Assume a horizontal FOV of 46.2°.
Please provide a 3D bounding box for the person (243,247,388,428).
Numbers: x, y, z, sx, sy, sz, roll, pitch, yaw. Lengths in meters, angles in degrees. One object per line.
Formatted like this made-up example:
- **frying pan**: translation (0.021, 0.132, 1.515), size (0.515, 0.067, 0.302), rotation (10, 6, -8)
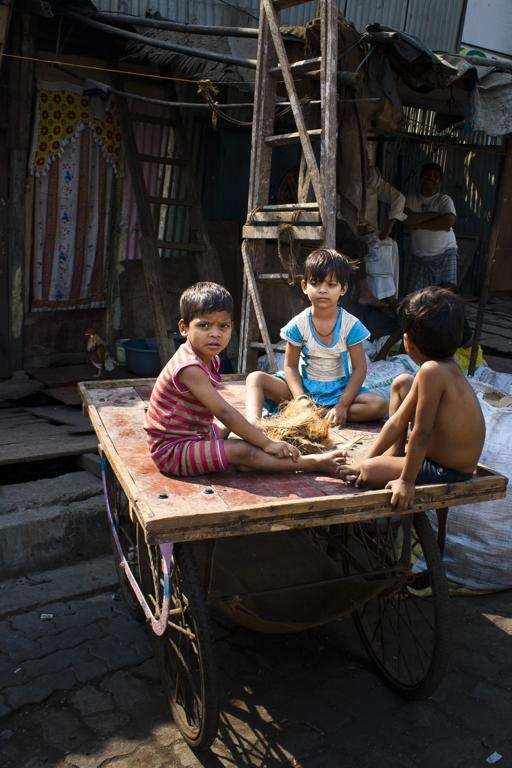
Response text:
- **person**: translation (0.229, -0.228, 2.856), size (0.673, 0.820, 0.535), rotation (-6, 15, -14)

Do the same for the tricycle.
- **tricycle**: translation (-0.081, 0.557, 2.455), size (1.145, 0.902, 1.613), rotation (-1, 19, -21)

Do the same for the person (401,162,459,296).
- **person**: translation (1.910, -1.550, 6.696), size (0.508, 1.655, 0.454), rotation (7, 30, 24)

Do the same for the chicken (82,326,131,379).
- **chicken**: translation (-1.434, -0.284, 5.663), size (0.393, 0.510, 0.416), rotation (16, 14, -10)
